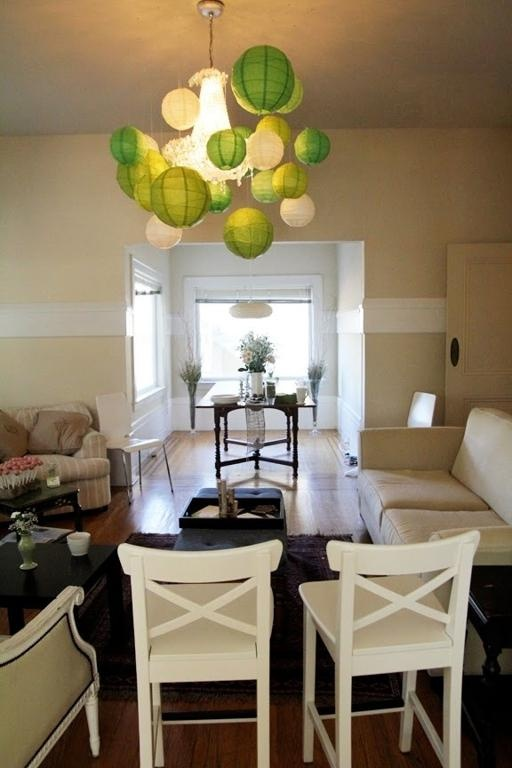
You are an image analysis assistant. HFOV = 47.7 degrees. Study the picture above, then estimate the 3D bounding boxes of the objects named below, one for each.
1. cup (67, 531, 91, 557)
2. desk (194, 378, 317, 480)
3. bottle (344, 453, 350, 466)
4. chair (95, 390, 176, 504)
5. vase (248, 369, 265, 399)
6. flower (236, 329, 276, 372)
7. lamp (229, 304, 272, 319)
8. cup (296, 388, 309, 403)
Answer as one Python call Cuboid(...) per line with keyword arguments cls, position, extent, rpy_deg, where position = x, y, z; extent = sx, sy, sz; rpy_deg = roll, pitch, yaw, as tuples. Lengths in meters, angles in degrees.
Cuboid(cls="cup", position=(-0.788, 0.696, 2.564), extent=(0.100, 0.089, 0.111), rpy_deg=(-1, -3, -14))
Cuboid(cls="desk", position=(0.006, 0.480, 6.030), extent=(1.153, 0.839, 1.389), rpy_deg=(0, 9, 9))
Cuboid(cls="bottle", position=(0.905, 0.766, 5.836), extent=(0.081, 0.141, 0.087), rpy_deg=(2, 3, 0))
Cuboid(cls="chair", position=(-0.950, 0.517, 5.131), extent=(0.437, 0.811, 0.461), rpy_deg=(-9, 3, 1))
Cuboid(cls="vase", position=(0.002, 0.004, 5.604), extent=(0.135, 0.240, 0.152), rpy_deg=(-2, 8, 3))
Cuboid(cls="flower", position=(-0.010, -0.374, 5.780), extent=(0.440, 0.605, 0.520), rpy_deg=(-2, 8, -5))
Cuboid(cls="lamp", position=(-0.008, -0.729, 5.706), extent=(0.343, 0.160, 0.478), rpy_deg=(3, 9, 35))
Cuboid(cls="cup", position=(0.432, 0.102, 5.516), extent=(0.096, 0.151, 0.174), rpy_deg=(-2, 8, 3))
